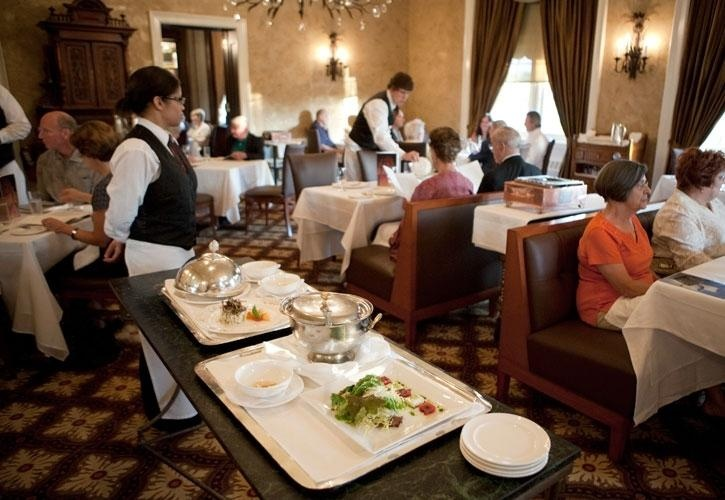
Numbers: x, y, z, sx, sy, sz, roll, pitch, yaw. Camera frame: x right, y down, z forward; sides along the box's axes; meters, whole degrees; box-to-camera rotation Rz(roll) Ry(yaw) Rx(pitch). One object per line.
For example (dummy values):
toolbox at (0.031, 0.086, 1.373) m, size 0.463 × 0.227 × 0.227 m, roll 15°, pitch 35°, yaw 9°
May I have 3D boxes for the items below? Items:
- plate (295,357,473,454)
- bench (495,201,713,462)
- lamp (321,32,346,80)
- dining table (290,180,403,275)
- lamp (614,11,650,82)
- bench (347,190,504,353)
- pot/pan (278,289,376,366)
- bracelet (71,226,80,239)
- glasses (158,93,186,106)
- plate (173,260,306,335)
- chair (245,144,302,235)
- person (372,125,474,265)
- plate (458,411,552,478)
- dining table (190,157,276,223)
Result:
plate at (0.110, 0.560, 1.845) m, size 0.481 × 0.554 × 0.055 m, roll -22°, pitch 39°, yaw 22°
bench at (1.731, 0.368, 3.306) m, size 1.645 × 1.057 × 0.936 m, roll -12°, pitch 21°, yaw -34°
lamp at (-0.533, -3.650, 9.603) m, size 0.519 × 0.954 × 0.475 m, roll 25°, pitch 40°, yaw 29°
dining table at (-0.292, -0.156, 4.804) m, size 0.679 × 0.555 × 0.660 m, roll 3°, pitch -6°, yaw -2°
lamp at (3.456, -2.608, 6.485) m, size 0.148 × 0.812 × 0.430 m, roll -7°, pitch 20°, yaw -16°
bench at (0.487, 0.061, 4.214) m, size 1.105 × 1.030 × 0.830 m, roll -8°, pitch 14°, yaw -39°
pot/pan at (-0.130, 0.287, 2.108) m, size 0.301 × 0.208 × 0.290 m, roll -11°, pitch 22°, yaw -38°
bracelet at (-1.900, -0.118, 3.347) m, size 0.043 × 0.063 × 0.068 m, roll 22°, pitch 43°, yaw -3°
glasses at (-1.128, -0.901, 3.062) m, size 0.082 × 0.060 × 0.198 m, roll 1°, pitch 19°, yaw 6°
plate at (-0.610, 0.171, 2.528) m, size 0.441 × 0.133 × 0.416 m, roll 17°, pitch 24°, yaw 32°
chair at (-1.123, -0.727, 6.443) m, size 0.756 × 0.956 × 0.746 m, roll -3°, pitch 7°, yaw -25°
person at (0.635, -0.439, 4.159) m, size 0.693 × 1.042 × 0.577 m, roll -8°, pitch 17°, yaw -19°
plate at (0.506, 0.683, 1.799) m, size 0.322 × 0.118 × 0.209 m, roll 2°, pitch 19°, yaw 7°
dining table at (-1.526, -0.871, 6.195) m, size 0.913 × 0.462 × 0.806 m, roll 17°, pitch 26°, yaw 33°
